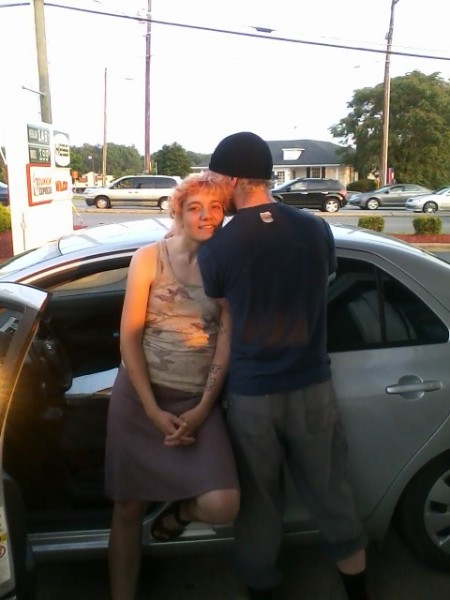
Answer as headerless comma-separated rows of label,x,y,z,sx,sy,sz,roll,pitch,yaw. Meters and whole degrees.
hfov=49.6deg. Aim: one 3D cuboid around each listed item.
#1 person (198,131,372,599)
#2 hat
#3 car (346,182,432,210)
person,0.213,0.342,1.611,0.561,1.722,0.269,-2,15,-3
hat,0.065,-0.432,1.460,0.210,0.147,0.259,-3,14,-10
car,8.091,-5.041,24.079,3.611,1.142,1.486,1,9,-3
